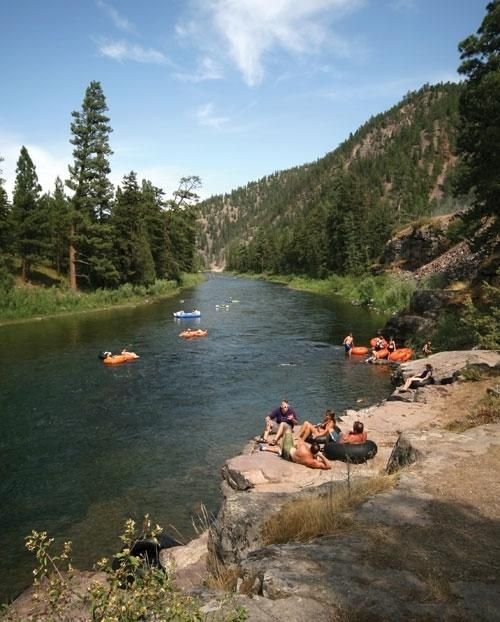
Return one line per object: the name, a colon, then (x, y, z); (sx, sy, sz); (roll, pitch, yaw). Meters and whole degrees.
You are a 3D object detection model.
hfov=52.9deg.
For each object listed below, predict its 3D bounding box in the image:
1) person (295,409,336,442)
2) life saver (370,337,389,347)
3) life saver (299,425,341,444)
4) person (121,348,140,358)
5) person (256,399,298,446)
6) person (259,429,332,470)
person: (1.976, 3.426, 14.932); (1.182, 0.750, 0.737); (-8, 4, 6)
life saver: (7.510, 1.959, 29.267); (0.847, 0.219, 0.833); (-2, 14, 17)
life saver: (2.057, 3.657, 14.748); (1.036, 0.394, 0.463); (-7, -32, 15)
person: (-6.522, 2.448, 27.450); (0.862, 0.561, 0.487); (25, -47, -22)
person: (0.888, 3.417, 15.593); (1.039, 1.261, 1.602); (7, 0, 22)
person: (1.117, 3.650, 13.493); (1.224, 0.699, 2.544); (0, 4, -16)
